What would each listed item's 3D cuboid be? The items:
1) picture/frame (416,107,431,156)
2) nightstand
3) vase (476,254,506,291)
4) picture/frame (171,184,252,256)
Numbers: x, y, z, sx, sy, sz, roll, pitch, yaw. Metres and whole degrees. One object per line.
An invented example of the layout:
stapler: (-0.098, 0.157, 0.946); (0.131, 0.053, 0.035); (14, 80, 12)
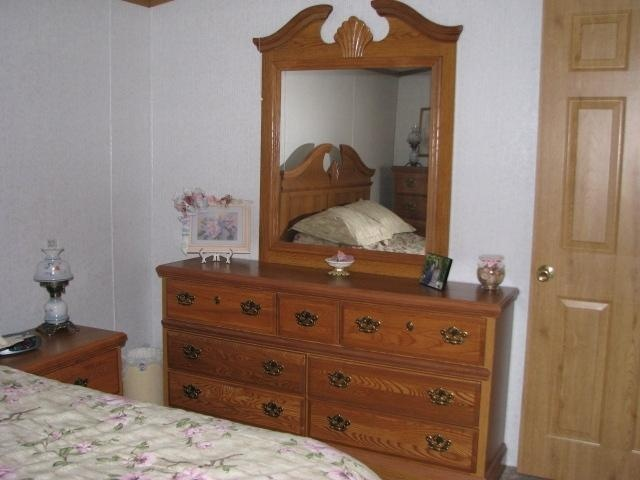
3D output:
picture/frame: (0.571, -0.586, 2.925); (0.076, 0.266, 0.022); (3, 8, 11)
nightstand: (-1.186, 0.531, 2.472); (0.349, 0.363, 0.450); (6, 11, 23)
vase: (0.855, 0.167, 2.703); (0.201, 0.183, 0.175); (0, 5, 7)
picture/frame: (-0.630, -0.126, 3.278); (0.612, 0.385, 0.045); (2, 0, -8)
